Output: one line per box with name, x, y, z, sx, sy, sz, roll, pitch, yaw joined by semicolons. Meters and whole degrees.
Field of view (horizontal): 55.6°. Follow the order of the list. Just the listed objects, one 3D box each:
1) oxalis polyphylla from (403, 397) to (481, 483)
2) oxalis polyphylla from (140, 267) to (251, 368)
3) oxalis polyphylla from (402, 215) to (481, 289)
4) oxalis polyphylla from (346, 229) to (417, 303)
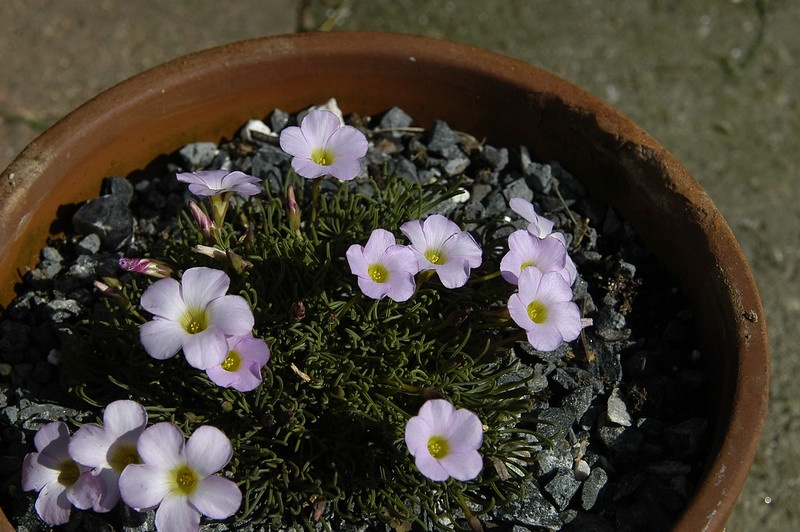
oxalis polyphylla;0.156;0.719;3.063;0.328;0.158;0.335;20;55;-7
oxalis polyphylla;-0.813;0.221;3.111;0.460;0.203;0.486;9;53;-8
oxalis polyphylla;0.141;-0.080;3.336;0.371;0.383;0.147;-5;66;32
oxalis polyphylla;-0.093;0.016;3.162;0.297;0.164;0.352;18;48;0
